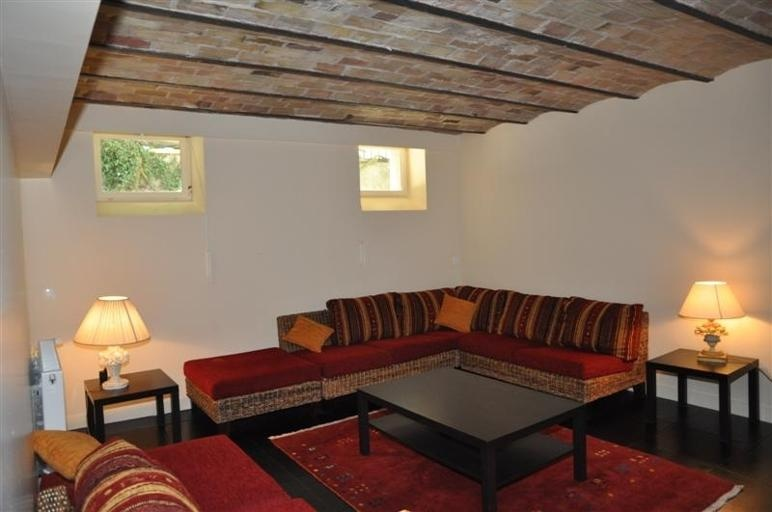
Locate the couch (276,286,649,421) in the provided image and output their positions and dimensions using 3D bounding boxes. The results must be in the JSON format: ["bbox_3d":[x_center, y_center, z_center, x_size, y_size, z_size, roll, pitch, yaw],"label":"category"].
[{"bbox_3d":[1.239,0.913,5.576,2.032,0.687,1.995,-2,-2,-36],"label":"couch"}]

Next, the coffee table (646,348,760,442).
[{"bbox_3d":[2.907,1.195,4.744,0.821,0.596,0.800,1,-2,-35],"label":"coffee table"}]

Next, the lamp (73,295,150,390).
[{"bbox_3d":[-2.417,0.753,4.603,0.581,0.782,0.530,-5,11,-14],"label":"lamp"}]

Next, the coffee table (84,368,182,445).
[{"bbox_3d":[-2.292,1.291,4.692,0.749,0.666,0.764,-2,-2,-36],"label":"coffee table"}]
